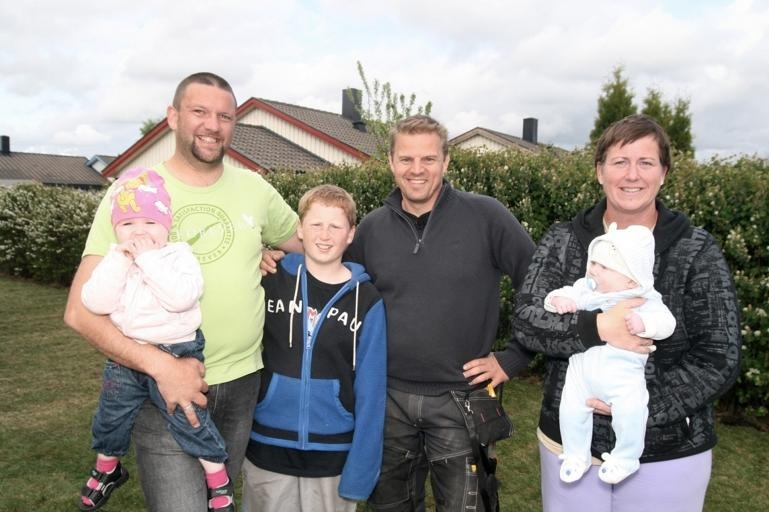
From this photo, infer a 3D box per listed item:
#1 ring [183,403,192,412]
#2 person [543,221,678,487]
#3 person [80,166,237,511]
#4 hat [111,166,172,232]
[{"bbox_3d":[-1.469,1.112,3.908,0.061,0.055,0.018,-5,14,-26],"label":"ring"},{"bbox_3d":[1.598,0.743,3.821,0.804,1.900,0.665,8,14,28],"label":"person"},{"bbox_3d":[-1.758,0.693,4.036,1.181,2.618,0.516,3,13,6],"label":"person"},{"bbox_3d":[-1.843,-0.419,4.186,0.386,0.482,0.495,0,-15,-15],"label":"hat"}]
